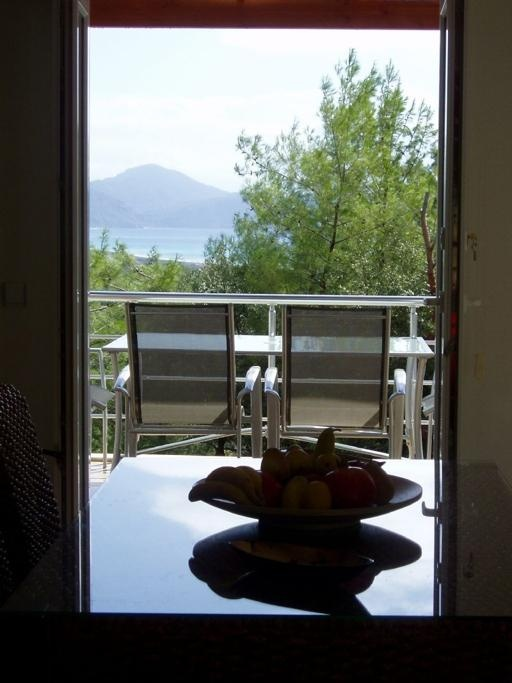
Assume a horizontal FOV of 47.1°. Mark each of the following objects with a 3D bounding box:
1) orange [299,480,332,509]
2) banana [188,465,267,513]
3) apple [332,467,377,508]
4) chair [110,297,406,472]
[{"bbox_3d":[0.077,0.194,0.737,0.032,0.034,0.031,1,-7,-40],"label":"orange"},{"bbox_3d":[-0.039,0.196,0.801,0.070,0.030,0.060,1,-1,9],"label":"banana"},{"bbox_3d":[0.123,0.189,0.754,0.046,0.059,0.046,-8,-14,-13],"label":"apple"},{"bbox_3d":[-0.032,0.193,2.592,1.211,0.755,0.895,5,7,28],"label":"chair"}]
